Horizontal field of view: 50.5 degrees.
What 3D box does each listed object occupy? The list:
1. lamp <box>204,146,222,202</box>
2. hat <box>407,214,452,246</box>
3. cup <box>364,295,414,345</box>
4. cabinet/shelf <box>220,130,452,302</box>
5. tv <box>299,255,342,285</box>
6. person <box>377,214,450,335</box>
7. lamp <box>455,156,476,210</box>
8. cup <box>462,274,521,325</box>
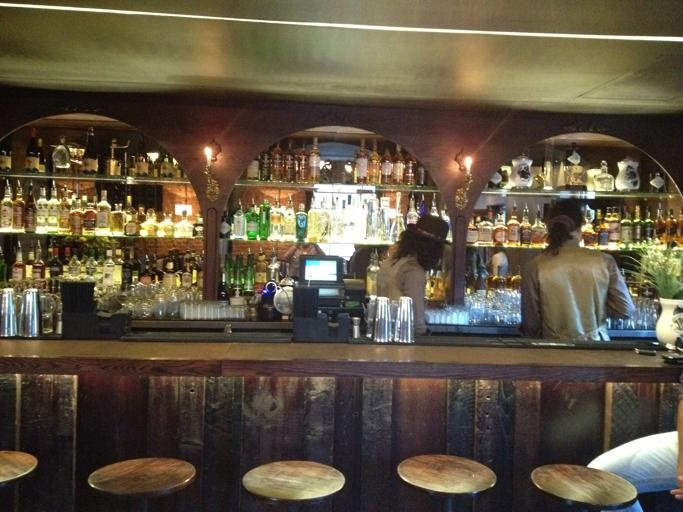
[{"bbox_3d":[-0.976,-0.621,5.440,0.116,0.418,0.111,-1,-2,-10],"label":"lamp"},{"bbox_3d":[0.614,-0.197,5.011,0.240,0.087,0.199,21,9,1],"label":"hat"},{"bbox_3d":[0.263,0.351,4.119,0.295,0.265,0.250,1,2,-1],"label":"cup"},{"bbox_3d":[-0.040,-0.304,5.603,1.461,1.334,0.423,0,1,-3],"label":"cabinet/shelf"},{"bbox_3d":[-0.141,0.096,4.911,0.352,0.180,0.234,3,-3,4],"label":"tv"},{"bbox_3d":[0.570,0.299,5.244,0.472,1.219,0.665,-6,30,-3],"label":"person"},{"bbox_3d":[0.959,-0.562,5.593,0.147,0.422,0.090,-1,-2,8],"label":"lamp"},{"bbox_3d":[1.234,0.352,5.774,0.567,0.386,0.418,-1,-2,-6],"label":"cup"}]
